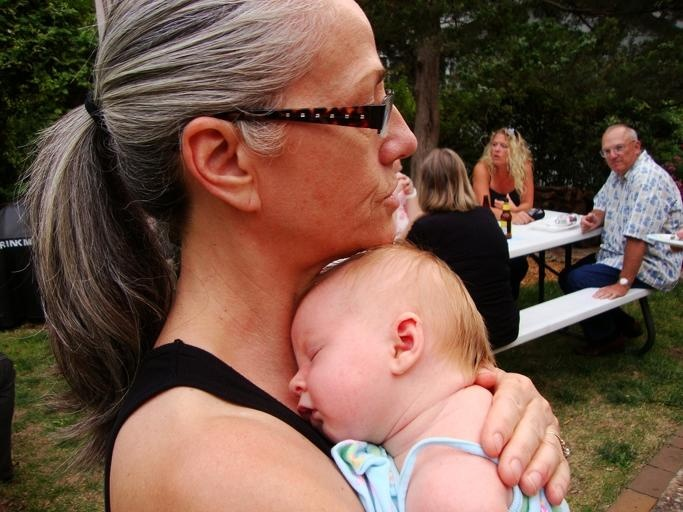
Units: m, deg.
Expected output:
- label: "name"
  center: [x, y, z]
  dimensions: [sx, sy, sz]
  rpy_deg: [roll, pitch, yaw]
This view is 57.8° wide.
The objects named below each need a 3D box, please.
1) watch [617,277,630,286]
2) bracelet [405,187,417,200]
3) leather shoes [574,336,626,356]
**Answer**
- label: "watch"
  center: [2.511, 0.230, 5.512]
  dimensions: [0.092, 0.077, 0.037]
  rpy_deg: [7, 16, 29]
- label: "bracelet"
  center: [0.670, -0.590, 5.933]
  dimensions: [0.101, 0.114, 0.110]
  rpy_deg: [6, 6, 21]
- label: "leather shoes"
  center: [2.500, 0.891, 6.101]
  dimensions: [0.506, 0.261, 0.205]
  rpy_deg: [-2, 2, -10]
